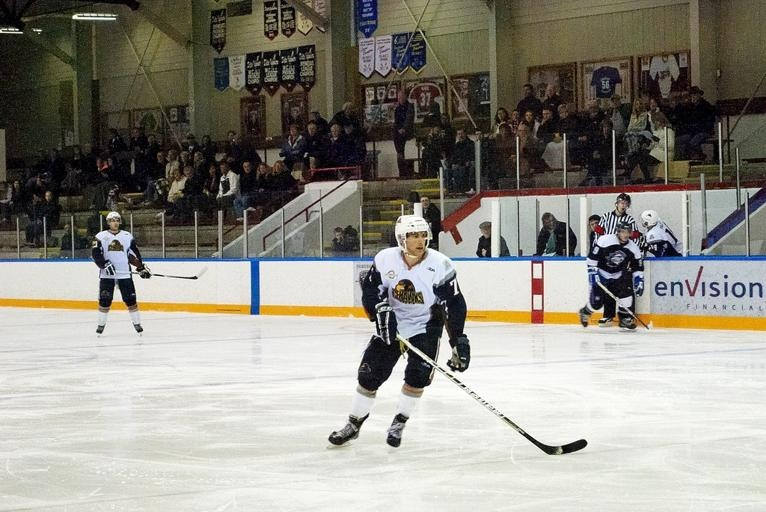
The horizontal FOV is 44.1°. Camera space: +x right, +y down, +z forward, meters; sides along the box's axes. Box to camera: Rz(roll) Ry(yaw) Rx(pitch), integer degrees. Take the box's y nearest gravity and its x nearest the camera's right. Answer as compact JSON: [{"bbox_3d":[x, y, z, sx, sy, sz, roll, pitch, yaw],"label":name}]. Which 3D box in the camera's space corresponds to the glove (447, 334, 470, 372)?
[{"bbox_3d":[0.615,0.773,7.660,0.204,0.130,0.262,18,41,-36],"label":"glove"}]

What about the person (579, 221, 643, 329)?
[{"bbox_3d":[3.172,0.252,13.179,0.830,1.478,0.404,1,8,16],"label":"person"}]

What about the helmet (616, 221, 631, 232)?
[{"bbox_3d":[3.264,-0.409,12.897,0.146,0.113,0.119,-3,10,3],"label":"helmet"}]

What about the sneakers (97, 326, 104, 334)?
[{"bbox_3d":[-4.058,1.041,13.581,0.092,0.118,0.046,8,7,-6],"label":"sneakers"}]

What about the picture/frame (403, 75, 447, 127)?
[{"bbox_3d":[0.873,-3.317,20.224,0.912,0.908,0.077,-9,23,-19],"label":"picture/frame"}]

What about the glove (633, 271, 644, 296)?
[{"bbox_3d":[3.529,0.362,13.124,0.170,0.291,0.136,2,-9,26],"label":"glove"}]

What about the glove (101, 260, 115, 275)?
[{"bbox_3d":[-3.975,0.152,13.718,0.156,0.194,0.080,-9,13,-24],"label":"glove"}]

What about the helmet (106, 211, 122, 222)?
[{"bbox_3d":[-3.861,-0.572,13.588,0.149,0.123,0.271,-5,8,-27],"label":"helmet"}]

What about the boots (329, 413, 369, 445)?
[{"bbox_3d":[-0.273,1.412,7.917,0.456,0.210,0.151,-9,18,-27],"label":"boots"}]

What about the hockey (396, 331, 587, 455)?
[{"bbox_3d":[0.984,1.288,8.772,1.400,0.198,0.154,36,38,15],"label":"hockey"}]

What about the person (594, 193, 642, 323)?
[{"bbox_3d":[3.255,0.018,13.377,0.606,1.668,0.546,0,-17,45],"label":"person"}]

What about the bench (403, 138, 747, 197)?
[{"bbox_3d":[3.097,-1.262,14.262,4.750,0.762,0.594,3,8,28],"label":"bench"}]

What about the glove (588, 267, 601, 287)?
[{"bbox_3d":[2.928,0.283,13.229,0.080,0.219,0.165,-1,0,-40],"label":"glove"}]

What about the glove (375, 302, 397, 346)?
[{"bbox_3d":[0.028,0.538,7.697,0.189,0.320,0.075,-8,2,-43],"label":"glove"}]

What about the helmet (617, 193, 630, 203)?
[{"bbox_3d":[3.331,-0.831,13.206,0.130,0.144,0.148,21,-13,-35],"label":"helmet"}]

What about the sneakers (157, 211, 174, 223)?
[{"bbox_3d":[-3.771,-0.702,16.442,0.255,0.138,0.139,9,-12,15],"label":"sneakers"}]

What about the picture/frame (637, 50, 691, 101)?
[{"bbox_3d":[5.279,-3.304,17.783,0.118,1.050,1.181,-26,22,-34],"label":"picture/frame"}]

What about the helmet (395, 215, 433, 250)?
[{"bbox_3d":[0.240,-0.206,7.841,0.269,0.274,0.326,-1,7,0],"label":"helmet"}]

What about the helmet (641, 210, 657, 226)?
[{"bbox_3d":[3.678,-0.565,13.151,0.175,0.184,0.223,-26,44,-21],"label":"helmet"}]

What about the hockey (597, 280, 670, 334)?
[{"bbox_3d":[3.482,0.678,13.194,0.974,0.150,0.131,47,3,38],"label":"hockey"}]

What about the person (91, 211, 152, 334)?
[{"bbox_3d":[-3.841,0.230,13.713,0.682,1.746,0.607,-3,8,-17],"label":"person"}]
